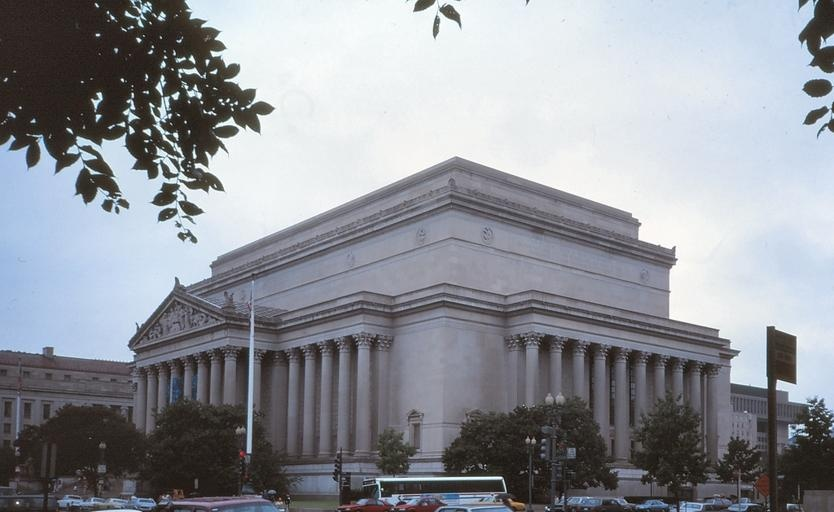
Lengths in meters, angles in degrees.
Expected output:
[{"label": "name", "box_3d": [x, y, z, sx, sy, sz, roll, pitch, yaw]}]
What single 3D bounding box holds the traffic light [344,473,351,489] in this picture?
[{"label": "traffic light", "box_3d": [-5.811, 18.422, 86.406, 0.500, 1.106, 0.709, -3, 7, 15]}]
